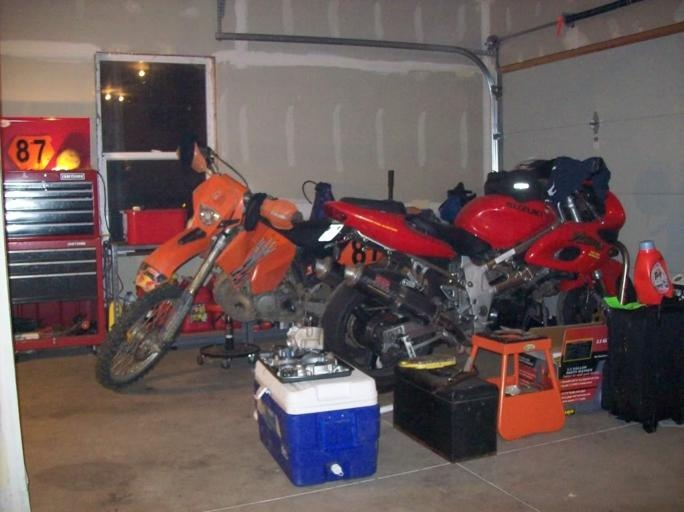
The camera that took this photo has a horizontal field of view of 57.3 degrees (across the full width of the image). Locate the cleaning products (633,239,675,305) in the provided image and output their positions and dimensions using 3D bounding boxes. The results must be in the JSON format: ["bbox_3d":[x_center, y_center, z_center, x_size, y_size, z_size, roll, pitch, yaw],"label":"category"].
[{"bbox_3d":[1.793,0.093,3.599,0.210,0.338,0.254,4,13,21],"label":"cleaning products"}]

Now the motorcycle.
[{"bbox_3d":[0.123,-0.062,4.749,3.877,1.987,1.463,-2,1,-9],"label":"motorcycle"}]

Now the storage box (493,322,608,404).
[{"bbox_3d":[1.300,0.614,3.936,0.638,0.496,0.437,-2,8,-18],"label":"storage box"}]

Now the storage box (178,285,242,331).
[{"bbox_3d":[-1.037,0.464,4.907,0.395,0.398,0.398,3,9,-27],"label":"storage box"}]

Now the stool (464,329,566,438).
[{"bbox_3d":[0.963,0.717,3.814,0.577,0.691,0.586,-3,4,-20],"label":"stool"}]

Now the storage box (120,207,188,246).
[{"bbox_3d":[-1.530,-0.238,5.099,0.374,0.249,0.377,-1,3,-20],"label":"storage box"}]
